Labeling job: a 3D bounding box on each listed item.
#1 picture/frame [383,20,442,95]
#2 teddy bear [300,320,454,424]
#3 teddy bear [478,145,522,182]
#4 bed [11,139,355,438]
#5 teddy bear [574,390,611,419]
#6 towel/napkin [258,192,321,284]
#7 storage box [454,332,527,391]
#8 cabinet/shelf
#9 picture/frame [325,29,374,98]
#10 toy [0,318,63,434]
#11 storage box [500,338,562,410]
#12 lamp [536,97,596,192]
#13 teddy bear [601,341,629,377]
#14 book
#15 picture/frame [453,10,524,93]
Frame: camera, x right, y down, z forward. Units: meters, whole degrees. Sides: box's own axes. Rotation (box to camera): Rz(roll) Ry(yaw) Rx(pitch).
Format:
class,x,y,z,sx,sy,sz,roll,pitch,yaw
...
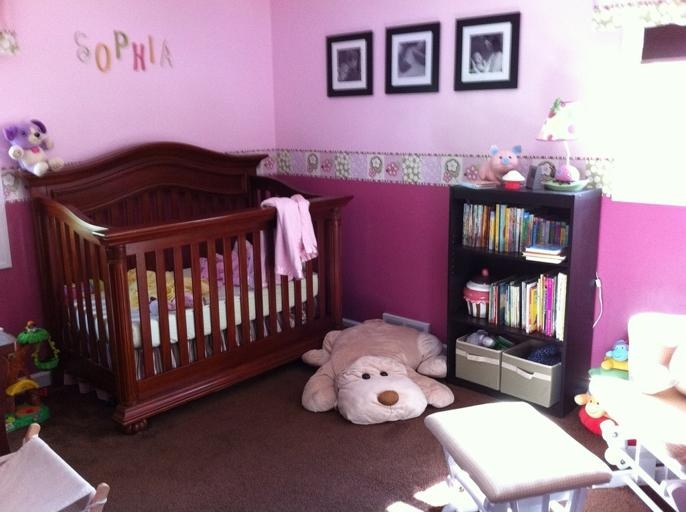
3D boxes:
class,x,y,z,sx,sy,sz,roll,pitch,yaw
picture/frame,0.444,-1.229,3.261,0.416,0.488,0.034,9,13,38
teddy bear,0.208,0.646,3.159,0.858,0.247,0.898,0,18,1
teddy bear,0.845,-0.515,2.911,0.154,0.190,0.230,-5,20,-11
bed,-0.882,0.063,3.301,0.986,1.451,1.598,10,16,38
teddy bear,1.207,0.721,2.555,0.090,0.152,0.254,-30,-15,16
towel/napkin,-0.277,-0.119,3.092,0.181,0.454,0.324,-6,7,26
storage box,0.850,0.583,3.128,0.262,0.273,0.323,-11,17,-43
cabinet/shelf,0.872,0.207,2.863,0.622,1.092,0.333,5,9,18
picture/frame,0.055,-1.291,3.532,0.408,0.481,0.031,8,14,36
toy,-1.716,0.606,2.930,0.229,0.497,0.490,-6,18,-19
storage box,1.039,0.638,2.885,0.280,0.199,0.300,12,21,40
lamp,1.154,-0.569,2.723,0.277,0.446,0.305,7,18,23
teddy bear,1.430,0.517,2.724,0.091,0.159,0.170,4,-3,-42
book,0.951,0.081,2.866,0.208,0.646,0.646,-5,10,-36
picture/frame,0.832,-1.157,2.979,0.421,0.471,0.034,9,14,36
